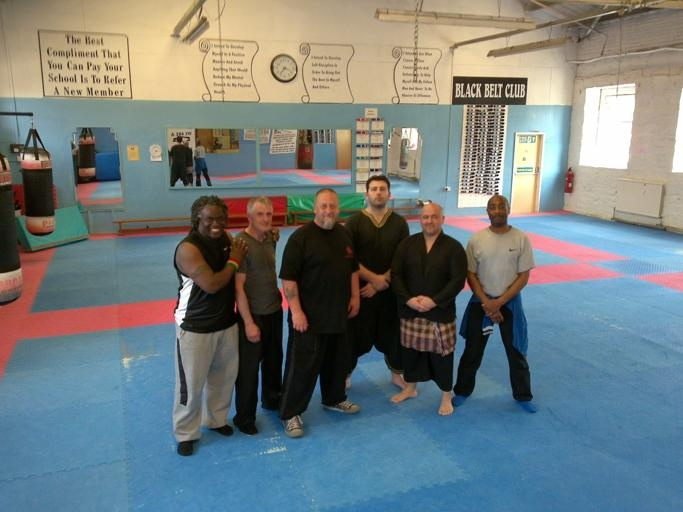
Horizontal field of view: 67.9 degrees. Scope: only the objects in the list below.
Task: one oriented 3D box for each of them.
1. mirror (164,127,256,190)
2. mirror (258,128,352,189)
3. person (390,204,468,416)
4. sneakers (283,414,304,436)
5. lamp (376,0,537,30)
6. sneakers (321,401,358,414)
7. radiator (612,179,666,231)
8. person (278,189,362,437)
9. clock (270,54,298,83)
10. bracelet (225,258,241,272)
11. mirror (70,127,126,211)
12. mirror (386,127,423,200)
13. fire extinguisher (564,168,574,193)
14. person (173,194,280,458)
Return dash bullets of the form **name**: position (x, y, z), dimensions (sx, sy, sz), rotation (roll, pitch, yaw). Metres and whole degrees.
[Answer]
- **mirror**: position (-3.370, -2.457, 12.698), dimensions (2.015, 1.428, 0.023), rotation (1, 4, 8)
- **mirror**: position (-1.014, -2.572, 13.467), dimensions (2.616, 1.519, 0.023), rotation (3, 12, 13)
- **person**: position (0.878, 0.417, 5.133), dimensions (0.730, 1.855, 0.427), rotation (1, 17, 12)
- **sneakers**: position (-0.449, 1.632, 4.895), dimensions (0.099, 0.122, 0.292), rotation (1, 1, -12)
- **lamp**: position (2.069, -4.436, 9.509), dimensions (3.504, 0.317, 0.831), rotation (-10, 18, -26)
- **sneakers**: position (-0.015, 1.553, 5.287), dimensions (0.384, 0.164, 0.129), rotation (-1, 12, 6)
- **radiator**: position (7.839, -1.333, 13.298), dimensions (0.433, 1.109, 1.288), rotation (-1, 11, -22)
- **person**: position (-0.224, 0.522, 4.852), dimensions (0.981, 2.294, 0.413), rotation (-12, 19, -29)
- **clock**: position (-1.459, -4.719, 12.722), dimensions (0.618, 0.616, 0.099), rotation (-12, 20, -19)
- **bracelet**: position (-0.953, 0.081, 4.469), dimensions (0.101, 0.095, 0.101), rotation (0, 6, 6)
- **mirror**: position (-6.879, -2.672, 14.502), dimensions (1.125, 1.994, 5.732), rotation (-9, 17, -22)
- **mirror**: position (1.635, -2.784, 14.354), dimensions (0.047, 2.204, 1.213), rotation (-18, 22, -39)
- **fire extinguisher**: position (6.920, -2.296, 15.493), dimensions (0.225, 0.789, 0.342), rotation (-7, 17, -16)
- **person**: position (-1.212, 0.613, 4.584), dimensions (0.843, 2.259, 0.434), rotation (-10, 18, -25)
